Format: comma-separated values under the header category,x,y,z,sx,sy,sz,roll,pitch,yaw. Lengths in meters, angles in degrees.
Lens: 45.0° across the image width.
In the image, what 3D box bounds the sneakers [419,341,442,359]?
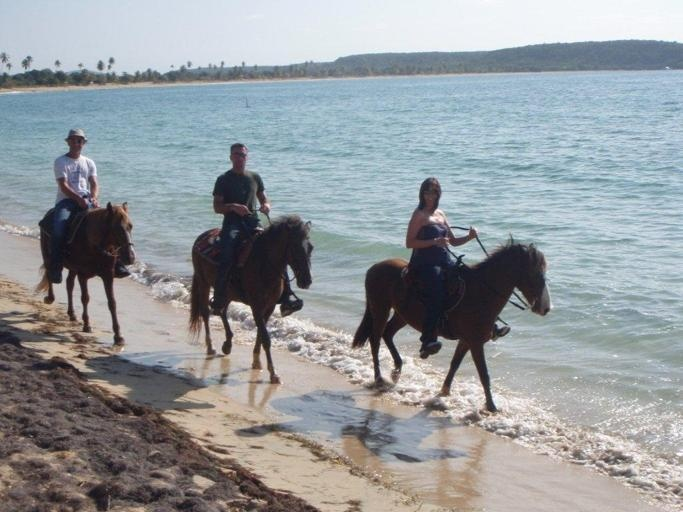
category,x,y,z,sx,sy,sz,roll,pitch,yaw
sneakers,1.481,1.547,13.656,0.244,0.144,0.398,5,-30,-38

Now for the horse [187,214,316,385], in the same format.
category,x,y,z,sx,sy,sz,roll,pitch,yaw
horse,-1.616,0.664,14.892,0.940,2.948,3.007,-10,18,-38

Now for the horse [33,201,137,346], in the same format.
category,x,y,z,sx,sy,sz,roll,pitch,yaw
horse,-4.879,0.186,15.728,0.929,2.588,2.538,-11,18,-41

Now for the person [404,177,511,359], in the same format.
category,x,y,z,sx,sy,sz,roll,pitch,yaw
person,1.657,0.284,13.786,1.136,3.133,1.149,3,14,7

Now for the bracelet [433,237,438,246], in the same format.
category,x,y,z,sx,sy,sz,roll,pitch,yaw
bracelet,1.591,-0.236,13.598,0.091,0.148,0.213,3,13,6

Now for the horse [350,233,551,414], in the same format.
category,x,y,z,sx,sy,sz,roll,pitch,yaw
horse,1.844,1.163,14.424,4.077,2.676,1.047,5,5,39

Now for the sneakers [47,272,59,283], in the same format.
category,x,y,z,sx,sy,sz,roll,pitch,yaw
sneakers,-5.495,0.418,15.783,0.257,0.209,0.233,0,-8,-14
